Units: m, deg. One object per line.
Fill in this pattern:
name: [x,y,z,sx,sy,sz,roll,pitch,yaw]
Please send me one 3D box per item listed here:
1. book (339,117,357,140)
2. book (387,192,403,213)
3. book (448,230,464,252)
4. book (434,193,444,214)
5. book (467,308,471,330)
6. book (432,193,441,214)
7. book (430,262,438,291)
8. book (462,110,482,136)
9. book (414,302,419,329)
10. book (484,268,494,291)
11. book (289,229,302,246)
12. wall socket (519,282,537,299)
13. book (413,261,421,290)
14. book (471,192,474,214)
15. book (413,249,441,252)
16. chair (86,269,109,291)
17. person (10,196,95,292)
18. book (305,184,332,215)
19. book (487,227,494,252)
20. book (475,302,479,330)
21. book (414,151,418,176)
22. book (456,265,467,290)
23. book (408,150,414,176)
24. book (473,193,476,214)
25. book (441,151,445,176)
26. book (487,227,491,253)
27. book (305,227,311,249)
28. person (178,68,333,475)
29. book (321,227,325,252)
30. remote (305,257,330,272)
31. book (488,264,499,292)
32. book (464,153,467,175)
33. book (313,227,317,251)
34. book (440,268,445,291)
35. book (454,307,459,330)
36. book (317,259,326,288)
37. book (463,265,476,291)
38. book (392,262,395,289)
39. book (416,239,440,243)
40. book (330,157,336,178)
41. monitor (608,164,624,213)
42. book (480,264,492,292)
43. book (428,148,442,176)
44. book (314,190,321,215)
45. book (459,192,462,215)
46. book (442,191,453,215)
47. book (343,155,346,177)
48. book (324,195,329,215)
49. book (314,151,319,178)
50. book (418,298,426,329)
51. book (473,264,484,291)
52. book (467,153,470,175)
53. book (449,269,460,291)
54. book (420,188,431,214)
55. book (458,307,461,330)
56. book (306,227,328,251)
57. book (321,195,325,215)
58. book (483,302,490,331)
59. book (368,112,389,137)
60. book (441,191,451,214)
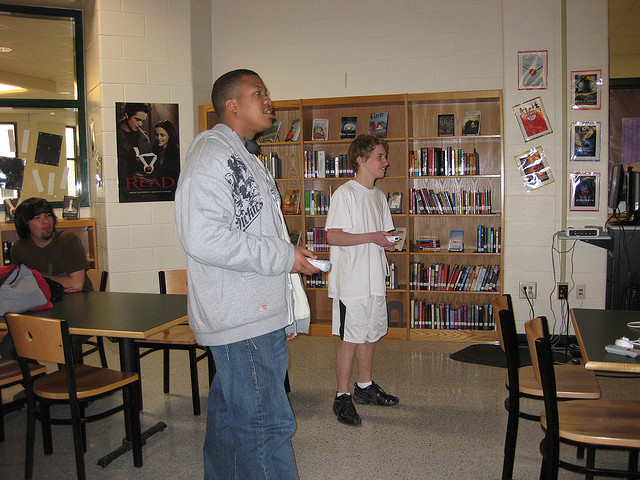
book: [0.307,-1.194,5.616,0.184,0.233,0.194,-1,10,3]
book: [0.795,-0.403,5.552,0.152,0.199,0.177,1,10,9]
book: [1.423,0.001,5.479,0.217,0.307,0.031,1,-21,16]
book: [1.227,-0.381,5.434,0.037,0.154,0.151,-11,2,-2]
book: [1.536,0.804,5.413,0.036,0.207,0.047,2,10,14]
book: [1.205,-0.369,5.426,0.039,0.273,0.046,-21,-4,-3]
book: [1.179,0.379,5.481,0.053,0.252,0.132,2,10,15]
book: [1.558,-1.202,5.380,0.182,0.262,0.269,2,11,18]
book: [1.014,0.782,5.515,0.046,0.199,0.197,2,-1,6]
book: [1.713,0.405,5.383,0.057,0.246,0.042,15,7,-4]
book: [-0.276,-0.045,5.722,0.151,0.157,0.037,0,-28,21]
wall socket: [2.111,0.500,5.354,0.160,0.159,0.038,2,2,13]
book: [1.007,0.373,5.478,0.134,0.242,0.247,1,6,9]
book: [1.554,-0.377,5.353,0.029,0.206,0.036,1,10,13]
book: [1.109,0.104,5.450,0.276,0.027,0.106,2,11,15]
chair: [-1.838,0.322,4.318,0.214,0.213,0.118,-5,-5,10]
person: [-2.122,0.055,4.099,0.653,0.752,0.469,-2,10,-5]
book: [-0.006,-0.469,5.822,0.264,0.364,0.375,1,8,8]
book: [1.734,-0.007,5.344,0.043,0.304,0.229,0,2,9]
book: [1.608,0.781,5.390,0.040,0.243,0.061,0,10,7]
book: [0.991,-0.795,5.419,0.034,0.240,0.045,1,10,9]
book: [1.448,0.387,5.450,0.057,0.304,0.042,16,8,-12]
book: [0.946,-0.801,5.450,0.051,0.253,0.114,0,10,8]
book: [1.573,-0.361,5.349,0.027,0.175,0.030,1,10,13]
book: [1.259,-0.790,5.384,0.033,0.238,0.054,0,10,7]
book: [1.715,-0.006,5.342,0.036,0.235,0.049,4,11,27]
book: [-0.131,-0.025,5.702,0.091,0.165,0.171,-1,-35,2]
person: [-0.328,0.149,2.544,0.663,1.923,0.455,-4,10,-15]
book: [0.032,-0.008,5.680,0.036,0.249,0.044,-1,10,1]
remote: [0.003,0.116,2.541,0.146,0.054,0.049,12,50,7]
book: [1.762,0.380,5.362,0.041,0.231,0.213,13,-12,4]
book: [1.481,-0.774,5.342,0.030,0.205,0.047,2,10,14]
book: [-0.052,-0.010,5.697,0.032,0.235,0.069,-6,11,-28]
book: [1.266,0.392,5.442,0.042,0.221,0.029,-1,10,1]
book: [1.406,0.811,5.434,0.036,0.201,0.052,1,10,13]
book: [0.012,0.379,5.717,0.060,0.258,0.261,1,0,-19]
book: [1.530,0.376,5.451,0.078,0.299,0.079,18,3,44]
book: [0.773,0.372,5.524,0.025,0.263,0.040,-1,10,1]
book: [1.140,0.001,5.549,0.241,0.021,0.189,1,10,11]
book: [0.134,-0.764,5.582,0.098,0.179,0.182,0,5,5]
monitor: [2.730,-0.472,4.843,0.101,0.457,0.325,4,11,28]
book: [1.692,0.390,5.362,0.034,0.227,0.213,18,-13,5]
book: [1.176,-0.801,5.389,0.133,0.270,0.066,0,10,8]
book: [-0.032,-0.403,5.659,0.076,0.213,0.218,1,9,6]
book: [1.443,-0.374,5.387,0.027,0.193,0.064,1,10,9]
book: [1.317,-0.405,5.406,0.026,0.194,0.034,-24,3,-12]
book: [0.260,-0.783,5.563,0.028,0.221,0.045,0,10,4]
book: [0.067,-0.386,5.680,0.037,0.206,0.086,-1,10,0]
book: [-0.036,-0.811,5.614,0.044,0.262,0.051,-2,10,-4]
book: [1.067,0.771,5.493,0.052,0.314,0.273,1,4,11]
book: [1.618,0.394,5.418,0.058,0.310,0.042,15,7,-36]
book: [1.509,-0.774,5.340,0.024,0.205,0.054,2,10,15]
book: [1.388,0.407,5.426,0.044,0.172,0.171,20,8,5]
book: [1.090,-0.404,5.457,0.104,0.246,0.048,3,11,24]
book: [1.441,0.805,5.429,0.029,0.211,0.043,1,10,12]
book: [-0.005,-0.012,5.688,0.274,0.275,0.204,0,-1,3]
book: [0.033,-0.386,5.666,0.037,0.191,0.051,-1,10,0]
book: [1.700,0.780,5.375,0.060,0.251,0.042,2,10,18]
book: [0.621,-1.226,5.576,0.218,0.260,0.216,0,10,7]
book: [1.298,-0.381,5.436,0.047,0.268,0.037,-20,-12,-28]
